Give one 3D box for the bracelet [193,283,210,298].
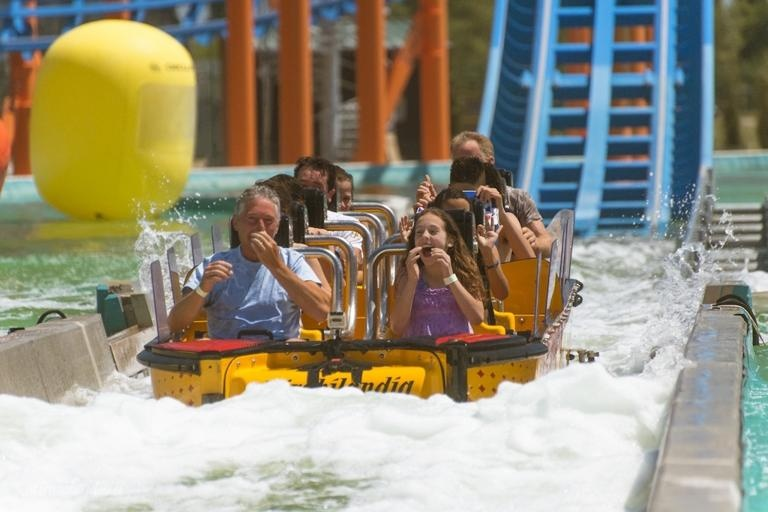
[{"bbox_3d":[-2.045,0.412,17.018,0.129,0.071,0.133,32,9,-36],"label":"bracelet"}]
